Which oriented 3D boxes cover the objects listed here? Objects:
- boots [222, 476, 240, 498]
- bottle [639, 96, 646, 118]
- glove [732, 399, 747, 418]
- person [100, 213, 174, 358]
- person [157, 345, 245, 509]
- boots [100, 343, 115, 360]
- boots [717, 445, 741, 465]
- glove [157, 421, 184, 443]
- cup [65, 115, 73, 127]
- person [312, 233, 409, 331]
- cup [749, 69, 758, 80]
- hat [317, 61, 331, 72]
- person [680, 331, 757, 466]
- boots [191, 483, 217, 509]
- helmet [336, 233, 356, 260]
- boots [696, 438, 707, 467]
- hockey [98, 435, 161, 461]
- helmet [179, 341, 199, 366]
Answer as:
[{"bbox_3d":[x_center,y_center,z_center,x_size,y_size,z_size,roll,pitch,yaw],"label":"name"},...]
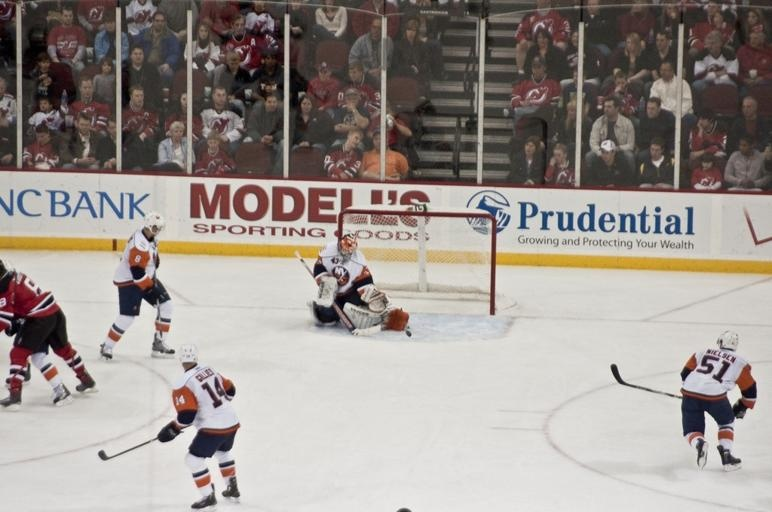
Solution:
[{"bbox_3d":[-1.751,2.601,14.067,0.130,0.261,0.273,-1,6,-19],"label":"boots"},{"bbox_3d":[4.581,-2.673,22.213,0.184,0.347,0.019,0,3,7],"label":"bottle"},{"bbox_3d":[4.205,1.797,14.783,0.165,0.234,0.093,9,9,29],"label":"glove"},{"bbox_3d":[-3.666,0.456,18.215,1.356,2.573,1.018,0,32,-15],"label":"person"},{"bbox_3d":[-2.077,1.891,13.947,0.835,1.791,0.400,-1,3,-7],"label":"person"},{"bbox_3d":[-3.775,1.256,16.728,0.159,0.230,0.153,-1,3,-14],"label":"boots"},{"bbox_3d":[4.007,2.303,14.503,0.249,0.238,0.188,1,3,17],"label":"boots"},{"bbox_3d":[-2.430,1.911,13.923,0.288,0.216,0.120,-35,37,15],"label":"glove"},{"bbox_3d":[-5.840,-2.509,22.846,0.174,0.239,0.129,3,11,4],"label":"cup"},{"bbox_3d":[-0.428,0.386,18.182,1.453,1.394,0.938,8,11,9],"label":"person"},{"bbox_3d":[6.570,-3.258,22.287,0.155,0.168,0.155,-1,0,0],"label":"cup"},{"bbox_3d":[-1.129,-3.415,22.367,0.193,0.178,0.083,8,13,0],"label":"hat"},{"bbox_3d":[3.927,1.669,14.681,0.867,1.549,0.603,0,3,4],"label":"person"},{"bbox_3d":[-2.042,2.648,13.886,0.278,0.281,0.181,-1,3,-10],"label":"boots"},{"bbox_3d":[-0.571,-0.167,18.032,0.247,0.323,0.321,6,-16,-9],"label":"helmet"},{"bbox_3d":[3.664,2.254,14.494,0.109,0.330,0.140,-4,8,-8],"label":"boots"},{"bbox_3d":[-3.041,2.209,14.408,0.598,0.302,0.768,-1,3,-15],"label":"hockey"},{"bbox_3d":[-2.227,1.091,14.111,0.212,0.274,0.282,-1,6,-7],"label":"helmet"}]
